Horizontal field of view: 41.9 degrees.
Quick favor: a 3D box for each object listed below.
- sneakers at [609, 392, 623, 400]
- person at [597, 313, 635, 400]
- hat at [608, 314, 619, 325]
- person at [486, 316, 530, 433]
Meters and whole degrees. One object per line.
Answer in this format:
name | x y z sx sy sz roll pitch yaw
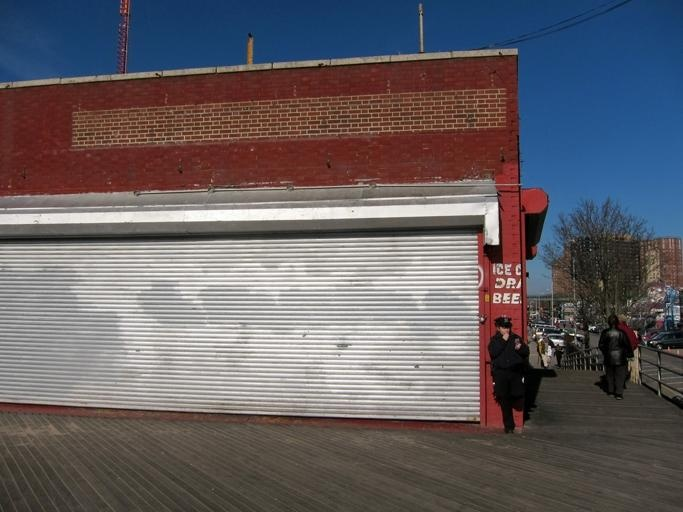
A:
sneakers | 5.879 3.005 19.235 0.112 0.148 0.332 10 -4 -35
person | 5.914 2.159 19.340 0.675 1.781 0.705 4 8 19
hat | 5.849 1.373 19.272 0.169 0.220 0.218 -2 -20 18
person | 3.069 2.203 16.688 0.690 2.117 0.382 2 8 11
